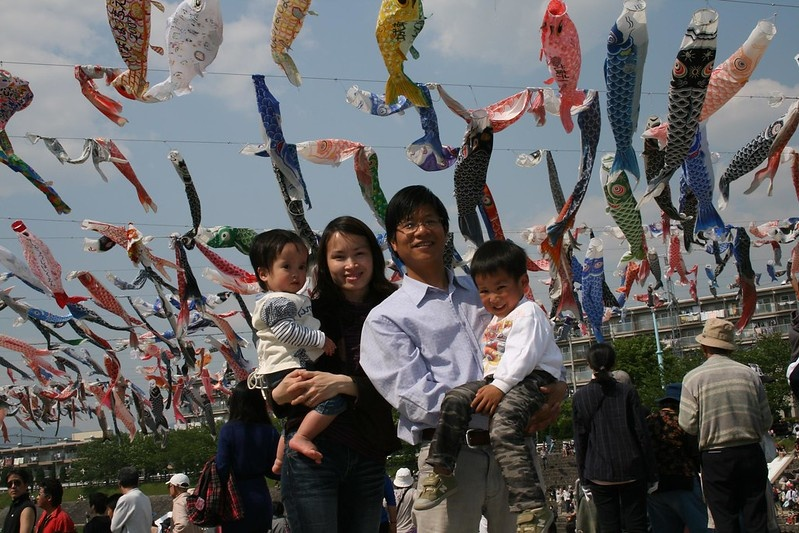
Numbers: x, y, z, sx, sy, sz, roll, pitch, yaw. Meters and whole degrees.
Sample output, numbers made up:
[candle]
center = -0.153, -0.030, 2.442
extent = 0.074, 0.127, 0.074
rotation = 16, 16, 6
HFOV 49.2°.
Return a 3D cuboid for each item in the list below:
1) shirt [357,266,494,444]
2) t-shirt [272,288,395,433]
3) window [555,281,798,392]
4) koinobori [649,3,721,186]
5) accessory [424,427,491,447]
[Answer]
[shirt]
center = 0.255, 0.855, 7.934
extent = 1.394, 1.200, 0.732
rotation = -16, -9, -21
[t-shirt]
center = -0.637, 0.799, 8.053
extent = 1.230, 1.238, 0.597
rotation = 2, -10, 9
[window]
center = 10.407, 2.523, 30.846
extent = 9.196, 2.860, 2.855
rotation = -19, -10, 24
[koinobori]
center = 3.259, -1.914, 9.936
extent = 0.720, 1.596, 1.334
rotation = -7, -15, 5
[accessory]
center = 0.570, 1.533, 7.849
extent = 0.359, 0.091, 0.257
rotation = -2, -24, -6
